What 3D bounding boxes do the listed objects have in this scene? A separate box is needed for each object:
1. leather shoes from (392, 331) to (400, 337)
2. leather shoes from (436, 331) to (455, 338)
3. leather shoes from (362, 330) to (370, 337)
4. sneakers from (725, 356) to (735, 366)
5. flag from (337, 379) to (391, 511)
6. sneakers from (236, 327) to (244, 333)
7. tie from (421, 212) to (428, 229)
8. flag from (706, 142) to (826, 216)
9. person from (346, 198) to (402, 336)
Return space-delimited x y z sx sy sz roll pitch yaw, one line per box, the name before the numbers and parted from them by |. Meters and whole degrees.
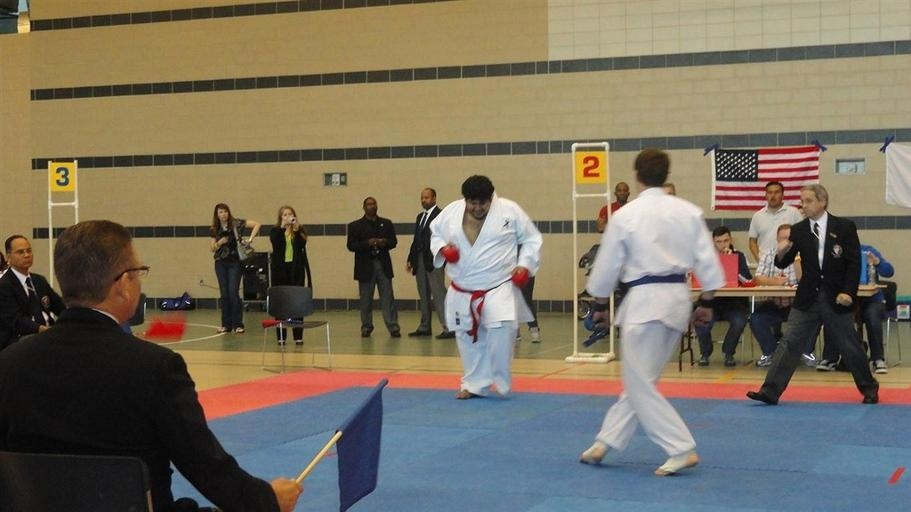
leather shoes | -1.289 1.732 27.609 0.201 0.138 0.245 -3 4 -4
leather shoes | -0.187 1.744 27.456 0.484 0.195 0.160 2 -2 -34
leather shoes | -1.978 1.738 27.780 0.130 0.089 0.233 0 -6 -3
sneakers | 5.568 2.100 24.745 0.214 0.192 0.204 -1 -6 6
flag | -1.357 2.805 18.380 0.826 1.877 0.456 -5 5 -17
sneakers | -4.875 1.670 28.045 0.129 0.078 0.129 -2 2 -3
tie | -0.622 -0.774 27.121 0.161 0.326 0.131 1 6 44
flag | 7.098 -1.700 27.751 2.146 1.179 0.103 0 6 6
person | -1.814 0.252 27.920 1.051 3.077 1.039 -4 4 -4
